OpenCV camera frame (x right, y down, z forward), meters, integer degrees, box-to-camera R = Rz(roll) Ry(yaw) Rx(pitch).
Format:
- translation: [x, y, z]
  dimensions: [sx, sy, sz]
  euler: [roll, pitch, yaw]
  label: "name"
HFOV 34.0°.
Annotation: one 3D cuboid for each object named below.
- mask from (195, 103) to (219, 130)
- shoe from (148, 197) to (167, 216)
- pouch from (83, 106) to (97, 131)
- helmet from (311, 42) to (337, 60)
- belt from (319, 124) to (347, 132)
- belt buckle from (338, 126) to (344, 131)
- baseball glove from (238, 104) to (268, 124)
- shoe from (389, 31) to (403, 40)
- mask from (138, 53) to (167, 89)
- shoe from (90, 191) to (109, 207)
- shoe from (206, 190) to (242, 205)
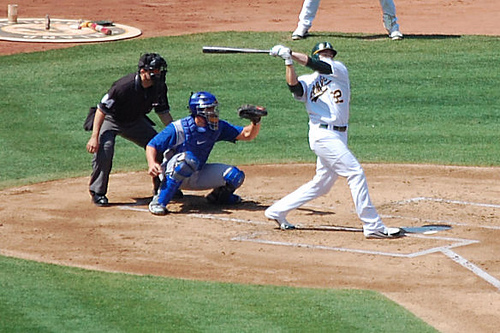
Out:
- translation: [-0.640, -0.849, 13.575]
  dimensions: [0.447, 0.373, 0.350]
  euler: [-2, 10, 8]
  label: "mask"
- translation: [-1.548, 0.664, 13.609]
  dimensions: [0.282, 0.287, 0.180]
  euler: [7, 11, 32]
  label: "shoe"
- translation: [-2.749, -0.814, 14.041]
  dimensions: [0.206, 0.428, 0.561]
  euler: [-1, 9, -12]
  label: "pouch"
- translation: [1.131, -1.875, 13.003]
  dimensions: [0.397, 0.182, 0.286]
  euler: [-15, -20, 30]
  label: "helmet"
- translation: [1.297, -0.609, 12.823]
  dimensions: [0.436, 0.113, 0.091]
  euler: [0, 9, -9]
  label: "belt"
- translation: [1.418, -0.595, 12.817]
  dimensions: [0.075, 0.062, 0.017]
  euler: [3, 5, -9]
  label: "belt buckle"
- translation: [0.026, -0.866, 13.314]
  dimensions: [0.389, 0.170, 0.291]
  euler: [11, -2, 36]
  label: "baseball glove"
- translation: [3.801, -3.409, 21.269]
  dimensions: [0.344, 0.216, 0.246]
  euler: [2, 9, 6]
  label: "shoe"
- translation: [-1.658, -1.666, 13.695]
  dimensions: [0.551, 0.489, 0.425]
  euler: [4, 6, 37]
  label: "mask"
- translation: [-2.552, 0.573, 13.903]
  dimensions: [0.366, 0.149, 0.158]
  euler: [10, 13, 44]
  label: "shoe"
- translation: [-0.450, 0.561, 14.088]
  dimensions: [0.603, 0.257, 0.200]
  euler: [-1, 33, 2]
  label: "shoe"
